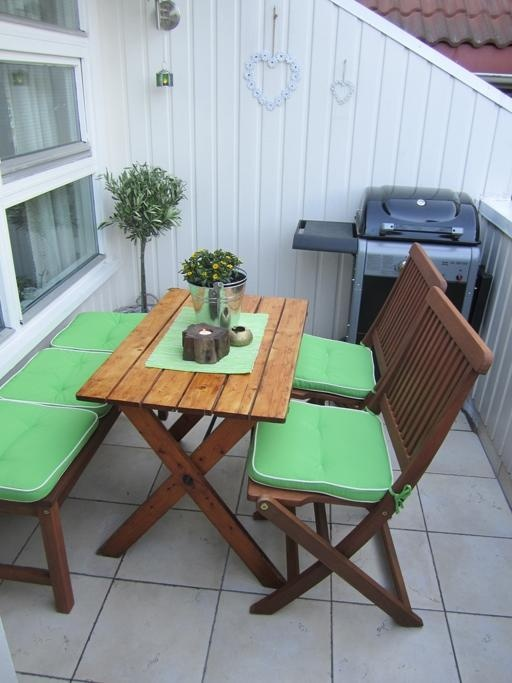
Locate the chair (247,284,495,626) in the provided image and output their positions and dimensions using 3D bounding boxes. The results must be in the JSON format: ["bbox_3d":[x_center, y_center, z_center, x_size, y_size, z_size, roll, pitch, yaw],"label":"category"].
[{"bbox_3d":[0.261,0.333,1.561,0.569,1.018,0.608,2,28,-1],"label":"chair"}]

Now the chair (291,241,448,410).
[{"bbox_3d":[0.474,-0.094,2.099,0.533,0.805,0.474,10,50,3],"label":"chair"}]

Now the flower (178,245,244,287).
[{"bbox_3d":[-0.143,-0.233,1.573,0.147,0.091,0.137,14,30,20],"label":"flower"}]

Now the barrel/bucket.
[{"bbox_3d":[-0.129,-0.128,1.608,0.174,0.184,0.189,1,35,-1],"label":"barrel/bucket"}]
